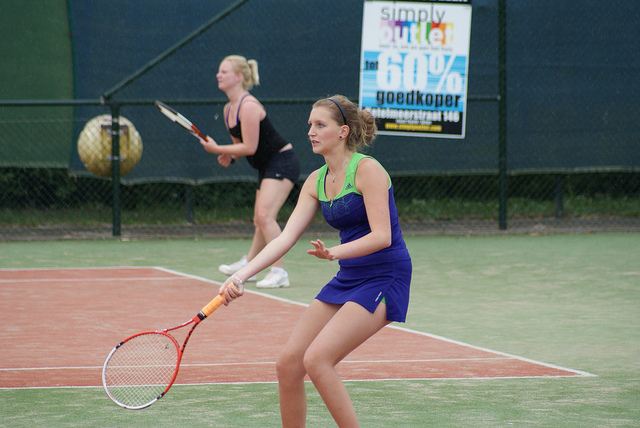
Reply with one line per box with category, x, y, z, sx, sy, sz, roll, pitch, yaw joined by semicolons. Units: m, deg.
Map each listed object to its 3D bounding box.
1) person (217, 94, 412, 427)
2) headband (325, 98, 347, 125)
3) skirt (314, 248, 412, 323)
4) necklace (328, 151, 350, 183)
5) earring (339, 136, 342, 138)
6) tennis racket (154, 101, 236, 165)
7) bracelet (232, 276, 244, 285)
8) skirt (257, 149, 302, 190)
person;0.096;0.417;6.076;1.029;2.418;0.904;-8;15;-35
headband;0.121;-0.737;6.161;0.150;0.178;0.040;9;15;35
skirt;0.303;0.498;6.267;0.568;0.644;0.508;5;-2;-12
necklace;0.135;-0.338;6.124;0.072;0.230;0.020;18;-19;37
earring;0.141;-0.552;6.146;0.010;0.013;0.012;-4;-6;13
tennis racket;-1.696;-1.084;11.288;0.250;0.220;1.536;-18;-43;37
bracelet;-0.599;0.485;6.079;0.076;0.088;0.134;0;12;-3
skirt;-0.454;-0.618;9.587;0.510;0.530;0.396;-9;-12;11
